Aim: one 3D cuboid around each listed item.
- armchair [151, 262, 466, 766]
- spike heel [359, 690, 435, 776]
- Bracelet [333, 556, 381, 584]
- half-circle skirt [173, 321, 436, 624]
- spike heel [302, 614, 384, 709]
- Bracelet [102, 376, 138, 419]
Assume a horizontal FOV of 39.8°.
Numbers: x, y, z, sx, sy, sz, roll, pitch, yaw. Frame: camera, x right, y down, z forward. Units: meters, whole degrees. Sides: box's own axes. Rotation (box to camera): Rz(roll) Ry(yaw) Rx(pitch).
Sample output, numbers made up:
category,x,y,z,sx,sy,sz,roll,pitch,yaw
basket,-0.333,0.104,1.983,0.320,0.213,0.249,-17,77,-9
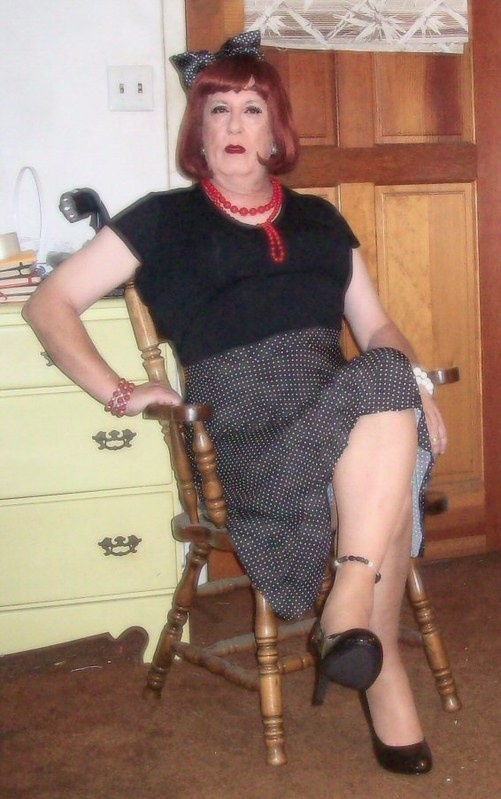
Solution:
category,x,y,z,sx,sy,sz,roll,pitch,yaw
armchair,0.072,0.240,1.357,0.523,0.693,0.561,-2,-1,-8
spike heel,0.238,0.543,1.146,0.067,0.045,0.207,-16,11,-12
Bracelet,0.135,0.223,0.944,0.022,0.028,0.061,-8,8,-43
half-circle skirt,0.072,0.078,1.024,0.308,0.523,0.199,-10,-9,8
spike heel,0.142,0.361,0.945,0.073,0.084,0.245,3,-26,18
Bracelet,-0.223,-0.002,1.191,0.026,0.063,0.048,25,11,1
